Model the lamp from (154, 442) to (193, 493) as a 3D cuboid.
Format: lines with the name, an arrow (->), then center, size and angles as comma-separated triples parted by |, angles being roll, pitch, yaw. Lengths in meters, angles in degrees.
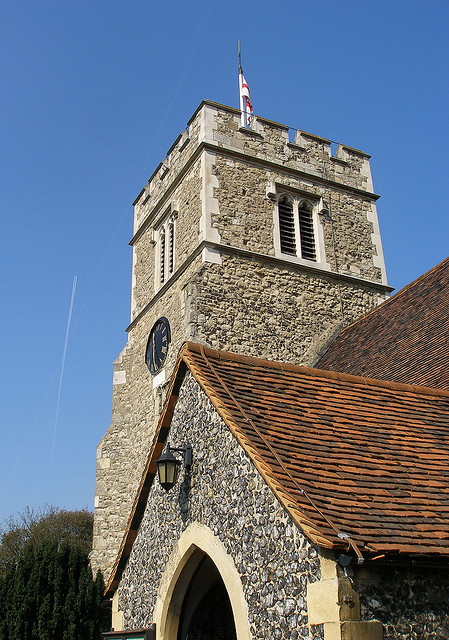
lamp -> -0.517, 1.500, 8.401 | 0.315, 0.611, 0.256 | 6, -36, -6

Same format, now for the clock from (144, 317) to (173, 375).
clock -> -1.507, 0.616, 17.902 | 0.064, 1.211, 1.035 | 11, -27, -30
